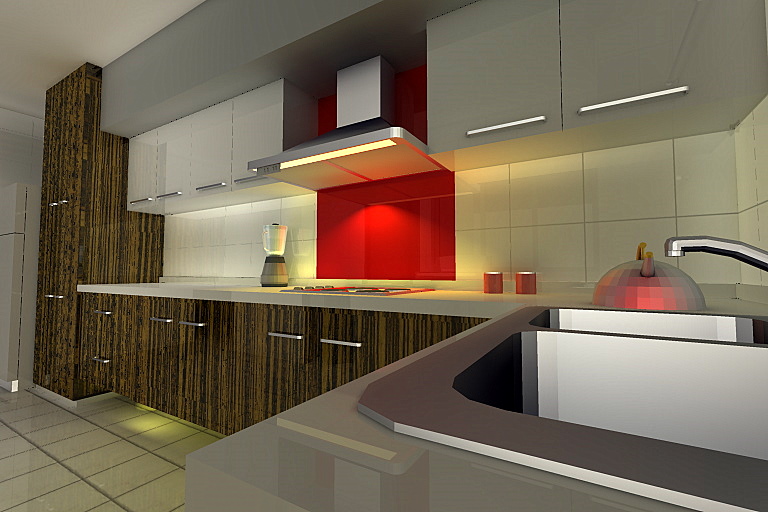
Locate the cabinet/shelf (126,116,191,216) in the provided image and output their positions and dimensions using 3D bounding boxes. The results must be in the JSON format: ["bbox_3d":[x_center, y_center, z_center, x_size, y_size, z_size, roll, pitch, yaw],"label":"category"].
[{"bbox_3d":[-1.754,-0.715,4.286,0.779,0.649,0.291,-6,-8,31],"label":"cabinet/shelf"}]

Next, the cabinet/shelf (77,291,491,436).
[{"bbox_3d":[-0.960,0.637,3.207,2.986,0.840,0.294,4,10,26],"label":"cabinet/shelf"}]

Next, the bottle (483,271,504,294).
[{"bbox_3d":[0.630,0.155,3.054,0.110,0.112,0.110,7,-9,-36],"label":"bottle"}]

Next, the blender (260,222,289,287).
[{"bbox_3d":[-0.804,-0.008,3.812,0.193,0.429,0.371,-2,9,-10],"label":"blender"}]

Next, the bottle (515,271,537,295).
[{"bbox_3d":[0.803,0.155,2.976,0.116,0.117,0.120,10,-11,-44],"label":"bottle"}]
